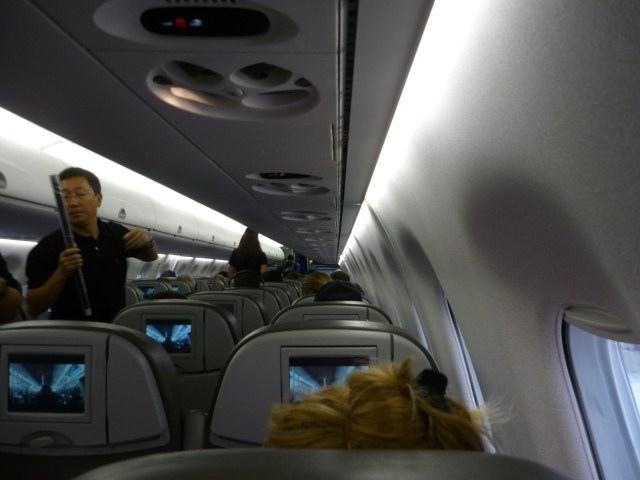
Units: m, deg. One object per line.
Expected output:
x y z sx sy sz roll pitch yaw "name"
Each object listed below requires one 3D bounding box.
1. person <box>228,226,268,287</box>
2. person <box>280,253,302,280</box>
-1.069 0.542 6.941 0.551 1.386 0.296 1 19 -19 "person"
-1.320 1.319 22.989 0.852 1.050 1.871 1 1 1 "person"
